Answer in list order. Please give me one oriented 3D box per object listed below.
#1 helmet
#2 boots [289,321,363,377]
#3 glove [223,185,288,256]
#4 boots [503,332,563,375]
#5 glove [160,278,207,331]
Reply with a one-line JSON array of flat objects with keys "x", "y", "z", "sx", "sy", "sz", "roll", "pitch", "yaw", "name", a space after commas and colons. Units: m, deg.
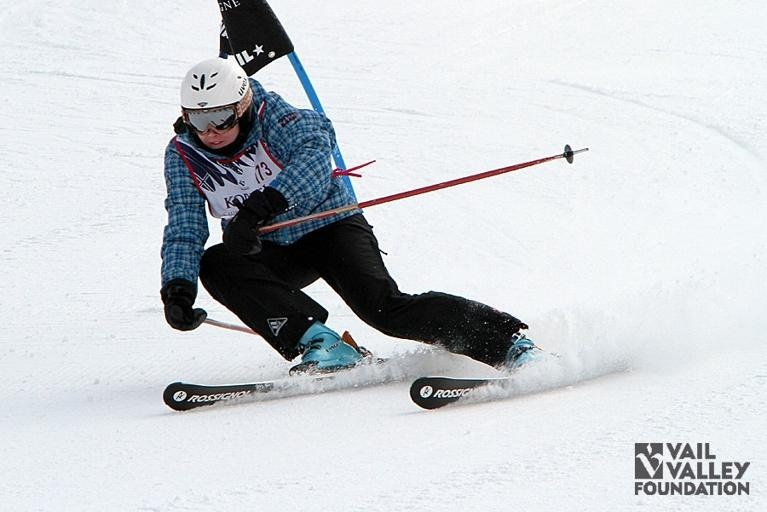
[{"x": -1.131, "y": -1.081, "z": 5.970, "sx": 0.534, "sy": 0.444, "sz": 0.575, "roll": -1, "pitch": 16, "yaw": 7, "name": "helmet"}, {"x": -0.379, "y": 0.600, "z": 5.887, "sx": 0.562, "sy": 0.172, "sz": 0.330, "roll": -13, "pitch": 82, "yaw": -33, "name": "boots"}, {"x": -0.797, "y": -0.222, "z": 5.706, "sx": 0.498, "sy": 0.200, "sz": 0.320, "roll": -41, "pitch": 29, "yaw": -10, "name": "glove"}, {"x": 0.895, "y": 0.596, "z": 5.578, "sx": 0.256, "sy": 0.123, "sz": 0.309, "roll": -21, "pitch": 16, "yaw": -25, "name": "boots"}, {"x": -1.296, "y": 0.294, "z": 5.701, "sx": 0.165, "sy": 0.461, "sz": 0.280, "roll": -10, "pitch": 78, "yaw": 22, "name": "glove"}]
